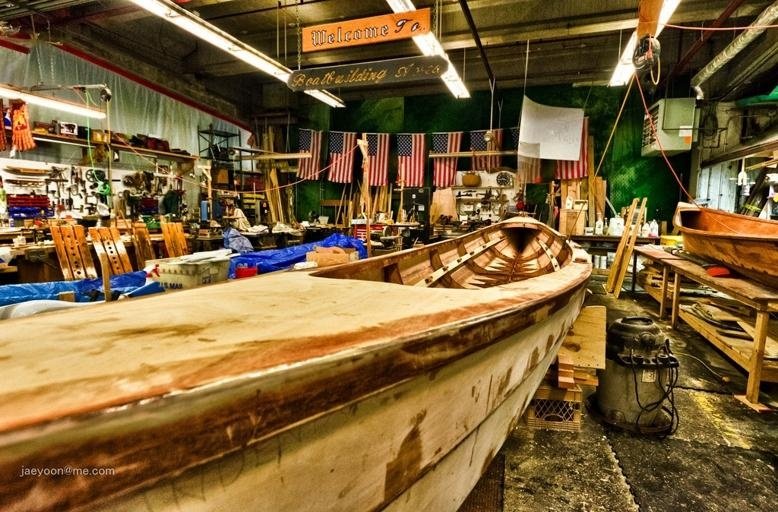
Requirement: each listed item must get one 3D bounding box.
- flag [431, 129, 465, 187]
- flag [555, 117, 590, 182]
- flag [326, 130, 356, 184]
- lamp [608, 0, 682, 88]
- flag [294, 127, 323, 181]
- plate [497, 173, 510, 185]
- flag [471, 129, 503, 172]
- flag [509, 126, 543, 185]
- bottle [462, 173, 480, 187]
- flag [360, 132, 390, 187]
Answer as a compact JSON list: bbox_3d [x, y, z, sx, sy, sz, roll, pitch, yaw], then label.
[{"bbox_3d":[1.574,-2.596,12.986,0.819,1.503,0.674,-2,12,6],"label":"flag"},{"bbox_3d":[4.481,-2.632,11.799,0.723,1.494,0.448,-1,12,10],"label":"flag"},{"bbox_3d":[-1.328,-2.841,13.712,0.870,1.418,0.407,-3,12,-1],"label":"flag"},{"bbox_3d":[4.398,-3.539,8.523,0.636,1.058,3.964,1,11,19],"label":"lamp"},{"bbox_3d":[-2.227,-2.931,13.761,0.871,1.406,0.705,-8,13,-21],"label":"flag"},{"bbox_3d":[2.931,-2.002,12.438,0.329,0.338,0.215,-1,12,9],"label":"plate"},{"bbox_3d":[2.491,-2.735,12.399,0.798,1.107,1.123,-1,11,10],"label":"flag"},{"bbox_3d":[3.380,-2.473,11.831,0.712,1.501,2.204,0,11,15],"label":"flag"},{"bbox_3d":[2.157,-2.019,12.709,0.393,0.347,0.386,2,8,14],"label":"bottle"},{"bbox_3d":[-0.278,-2.744,13.538,0.636,1.490,0.507,-3,12,0],"label":"flag"}]
